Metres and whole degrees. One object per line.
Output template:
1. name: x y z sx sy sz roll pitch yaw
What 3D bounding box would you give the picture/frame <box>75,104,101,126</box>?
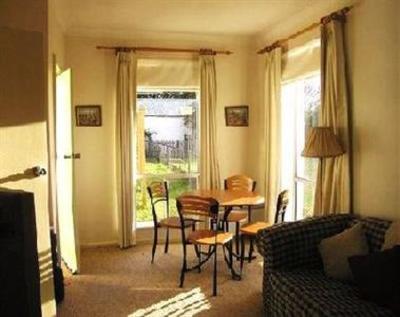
1. picture/frame: -0.515 -0.195 1.592 0.088 0.089 0.010 0 1 -7

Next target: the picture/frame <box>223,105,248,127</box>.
1. picture/frame: 0.171 -0.208 1.699 0.103 0.113 0.027 2 -6 8

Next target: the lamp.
1. lamp: 0.610 0.058 1.736 0.273 0.438 0.080 -4 3 -29
